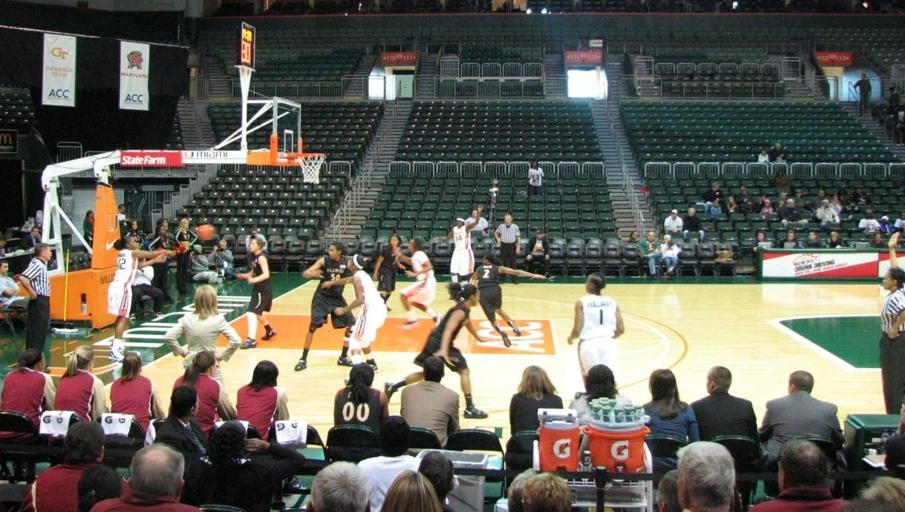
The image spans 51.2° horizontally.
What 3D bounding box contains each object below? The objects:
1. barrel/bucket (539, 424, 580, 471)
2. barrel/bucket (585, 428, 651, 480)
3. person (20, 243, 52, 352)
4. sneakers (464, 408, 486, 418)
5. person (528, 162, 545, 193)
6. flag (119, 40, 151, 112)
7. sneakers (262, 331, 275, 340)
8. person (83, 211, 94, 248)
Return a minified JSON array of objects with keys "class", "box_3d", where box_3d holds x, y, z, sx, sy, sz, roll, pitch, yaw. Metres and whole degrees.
[{"class":"barrel/bucket","box_3d":[2.145,3.829,19.107,0.946,0.875,0.906,1,-5,0]},{"class":"barrel/bucket","box_3d":[3.340,3.856,19.145,1.295,0.929,1.331,-1,-2,0]},{"class":"person","box_3d":[-10.295,1.015,23.391,0.638,2.719,0.920,0,-2,-24]},{"class":"sneakers","box_3d":[0.504,3.564,21.479,0.550,0.207,0.191,0,2,-1]},{"class":"person","box_3d":[2.974,-2.774,33.748,0.548,1.181,0.809,-1,-2,4]},{"class":"flag","box_3d":[-10.388,-5.934,30.949,0.933,2.112,0.743,0,-2,-16]},{"class":"sneakers","box_3d":[-4.748,2.047,24.550,0.403,0.242,0.137,-3,17,11]},{"class":"person","box_3d":[-11.344,-0.894,29.582,0.236,1.164,0.909,0,-2,-17]}]
